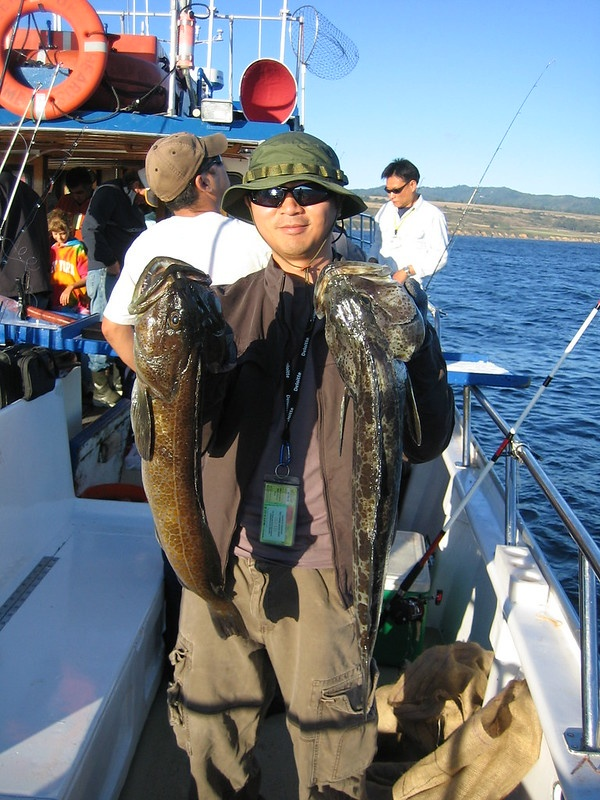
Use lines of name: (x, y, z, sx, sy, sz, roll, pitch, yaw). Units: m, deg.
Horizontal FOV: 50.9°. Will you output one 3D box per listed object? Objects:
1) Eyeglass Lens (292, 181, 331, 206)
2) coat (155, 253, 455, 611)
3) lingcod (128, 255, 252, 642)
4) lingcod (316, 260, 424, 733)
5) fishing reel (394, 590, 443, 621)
Eyeglass Lens: (0.027, -0.574, 1.773, 0.073, 0.033, 0.075, -1, -2, 3)
coat: (0.100, 0.066, 1.880, 0.910, 0.366, 0.995, 12, -7, 23)
lingcod: (-0.293, 0.166, 1.717, 0.344, 1.056, 0.209, 2, 21, -14)
lingcod: (0.130, 0.289, 1.700, 0.329, 1.292, 0.243, 8, 20, 1)
fishing reel: (0.577, 1.000, 3.113, 0.201, 0.092, 0.126, 0, 4, -28)
